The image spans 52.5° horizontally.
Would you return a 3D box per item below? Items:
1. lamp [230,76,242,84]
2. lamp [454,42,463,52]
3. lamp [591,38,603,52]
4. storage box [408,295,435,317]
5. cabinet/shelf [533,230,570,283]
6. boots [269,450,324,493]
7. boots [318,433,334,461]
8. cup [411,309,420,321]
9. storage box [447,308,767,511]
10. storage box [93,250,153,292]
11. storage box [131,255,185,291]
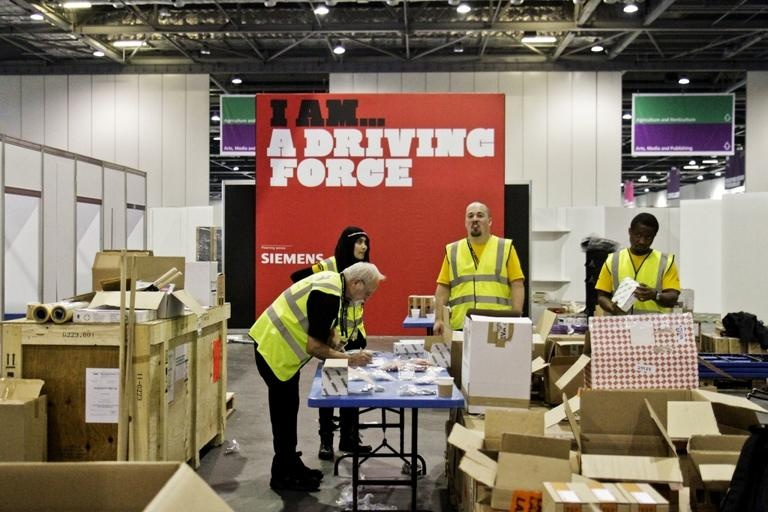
[{"bbox_3d":[-3.538,-4.236,18.632,0.205,0.055,0.211,-6,-5,26],"label":"lamp"},{"bbox_3d":[1.630,-4.588,17.065,0.135,0.101,0.243,-1,-1,4],"label":"lamp"},{"bbox_3d":[4.588,-4.582,16.869,0.230,0.227,0.227,-11,12,-40],"label":"lamp"},{"bbox_3d":[0.554,0.759,11.696,0.319,0.228,0.323,0,-2,-2],"label":"storage box"},{"bbox_3d":[3.601,0.044,16.750,1.057,1.462,0.729,0,-2,7],"label":"cabinet/shelf"},{"bbox_3d":[-1.022,2.541,9.150,0.780,0.558,0.284,0,-3,-10],"label":"boots"},{"bbox_3d":[-0.708,2.374,9.470,0.131,0.243,0.385,2,0,2],"label":"boots"},{"bbox_3d":[0.462,0.856,11.457,0.128,0.104,0.132,-1,-3,0],"label":"cup"},{"bbox_3d":[2.611,1.559,7.850,2.267,1.547,2.352,-1,2,8],"label":"storage box"},{"bbox_3d":[-3.320,0.135,9.727,0.788,0.582,0.558,0,-1,-10],"label":"storage box"},{"bbox_3d":[-2.701,0.158,9.441,0.647,0.465,0.356,0,-2,-4],"label":"storage box"}]
